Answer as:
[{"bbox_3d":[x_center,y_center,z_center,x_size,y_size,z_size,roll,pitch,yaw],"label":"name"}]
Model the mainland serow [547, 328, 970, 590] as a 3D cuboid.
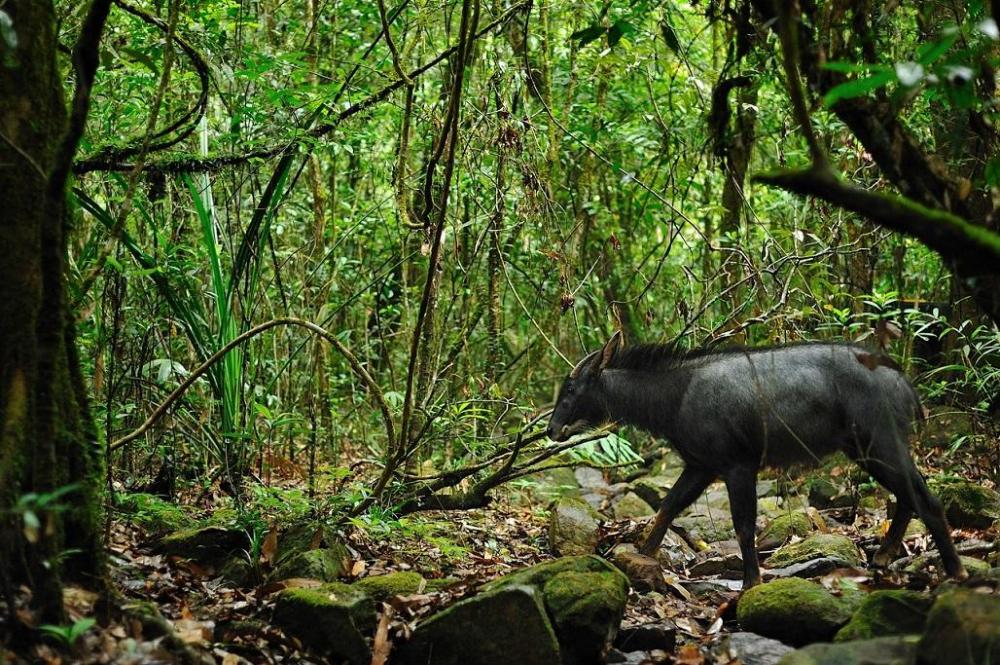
[{"bbox_3d":[1.695,0.860,6.872,2.643,1.769,0.727,-2,-1,11],"label":"mainland serow"}]
